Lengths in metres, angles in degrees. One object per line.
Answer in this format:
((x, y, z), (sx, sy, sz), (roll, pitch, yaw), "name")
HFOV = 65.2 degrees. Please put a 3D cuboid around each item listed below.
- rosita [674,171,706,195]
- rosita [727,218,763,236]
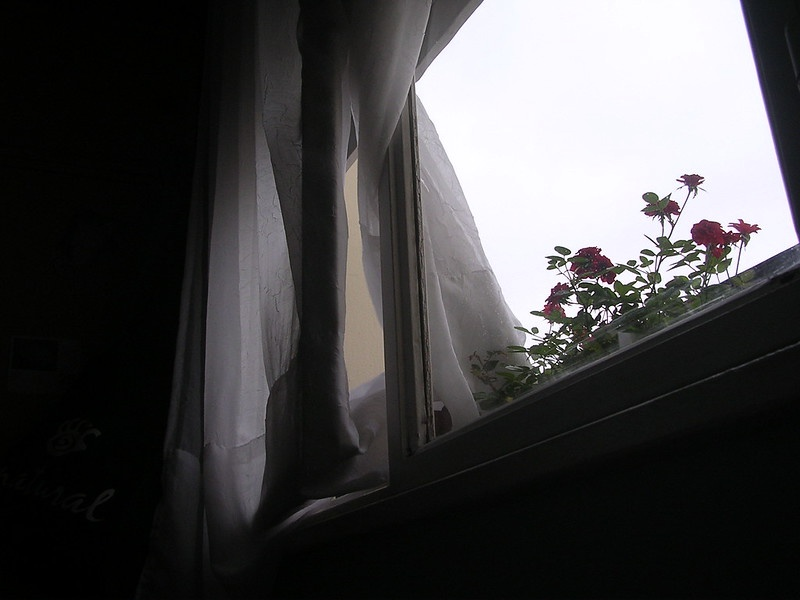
((0.423, -0.171, 0.907), (0.026, 0.030, 0.028), (-5, -13, 33), "rosita")
((0.468, -0.099, 0.848), (0.030, 0.031, 0.009), (-23, -42, 9), "rosita")
